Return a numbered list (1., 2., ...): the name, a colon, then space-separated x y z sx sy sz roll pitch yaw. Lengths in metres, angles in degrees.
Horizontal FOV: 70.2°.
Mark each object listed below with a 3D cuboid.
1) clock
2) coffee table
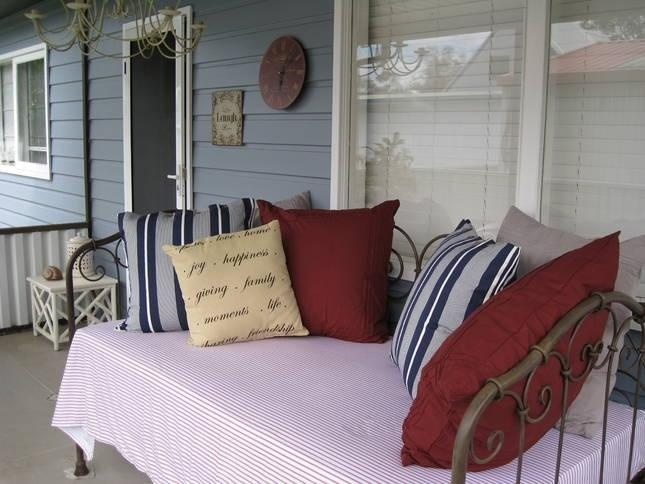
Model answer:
1. clock: -0.247 -1.031 2.804 0.375 0.437 0.072 13 17 42
2. coffee table: -2.105 0.471 4.050 0.766 0.738 0.756 -6 8 -42
